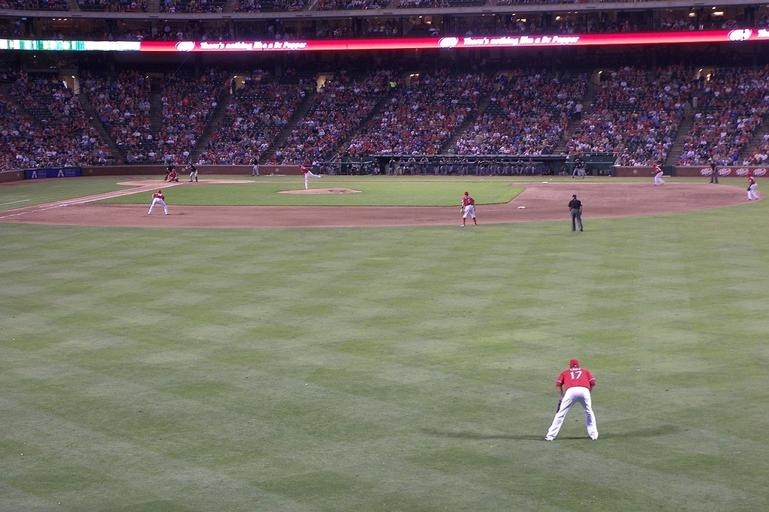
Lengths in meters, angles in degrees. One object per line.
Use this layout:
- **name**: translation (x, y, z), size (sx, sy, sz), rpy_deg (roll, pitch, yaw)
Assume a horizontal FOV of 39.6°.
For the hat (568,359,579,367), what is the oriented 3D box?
- **hat**: translation (6.518, 3.719, 36.745), size (0.526, 0.349, 0.560), rpy_deg (0, -5, 3)
